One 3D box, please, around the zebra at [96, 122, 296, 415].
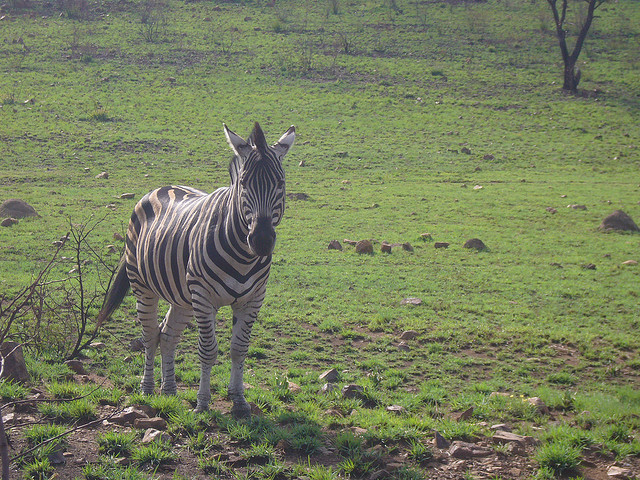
[{"bbox_3d":[-3.665,0.479,40.029,4.991,10.285,5.977,-5,16,-23],"label":"zebra"}]
